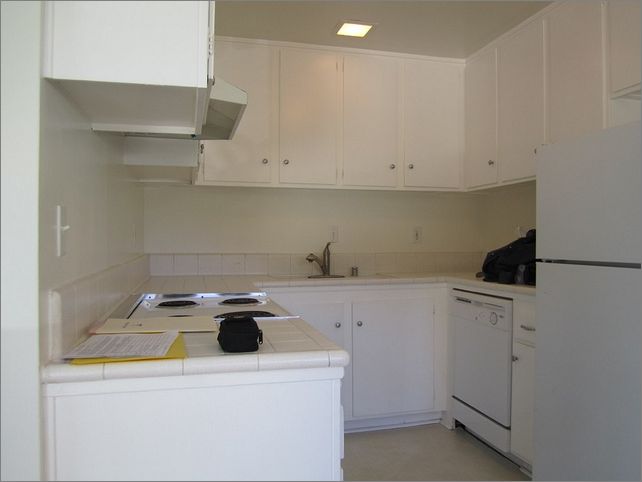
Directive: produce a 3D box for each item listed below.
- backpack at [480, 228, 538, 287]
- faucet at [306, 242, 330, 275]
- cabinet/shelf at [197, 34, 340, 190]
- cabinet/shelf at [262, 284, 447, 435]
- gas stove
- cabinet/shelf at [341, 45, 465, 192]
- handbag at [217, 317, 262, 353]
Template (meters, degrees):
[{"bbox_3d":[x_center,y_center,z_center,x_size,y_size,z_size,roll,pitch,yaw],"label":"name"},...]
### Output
[{"bbox_3d":[1.053,0.121,2.957,0.459,0.204,0.356,6,-7,4],"label":"backpack"},{"bbox_3d":[-0.009,0.133,3.627,0.192,0.277,0.080,2,20,7],"label":"faucet"},{"bbox_3d":[-0.385,-0.860,3.616,0.967,0.963,0.668,0,1,-14],"label":"cabinet/shelf"},{"bbox_3d":[0.204,0.666,3.562,1.520,1.280,0.867,0,-1,-13],"label":"cabinet/shelf"},{"bbox_3d":[-0.507,0.281,2.176,0.654,0.034,0.760,-1,4,-16],"label":"gas stove"},{"bbox_3d":[0.665,-0.906,3.726,0.972,0.962,0.465,7,21,27],"label":"cabinet/shelf"},{"bbox_3d":[-0.250,0.284,1.522,0.133,0.089,0.134,0,4,-5],"label":"handbag"}]
